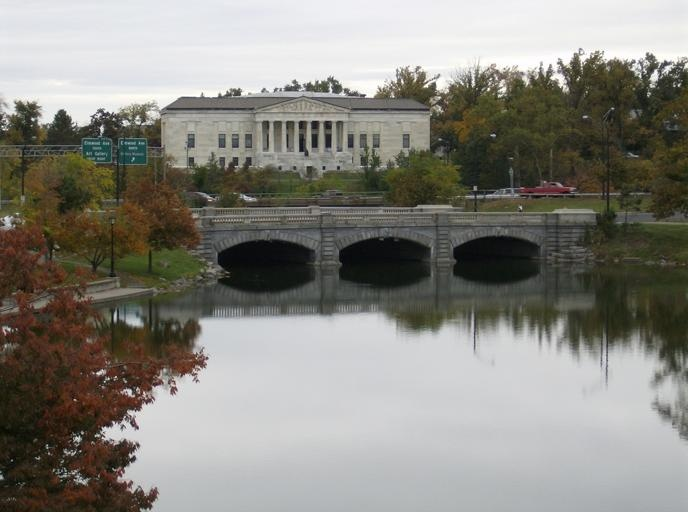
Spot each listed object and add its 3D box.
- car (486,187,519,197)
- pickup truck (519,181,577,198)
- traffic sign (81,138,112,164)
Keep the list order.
[{"bbox_3d":[16.008,-6.668,115.386,3.400,1.255,1.572,2,2,0],"label":"car"},{"bbox_3d":[19.728,-6.257,111.452,5.205,1.806,2.410,-1,6,-6],"label":"pickup truck"},{"bbox_3d":[-19.226,-8.199,90.544,2.262,2.084,0.311,3,13,9],"label":"traffic sign"}]
